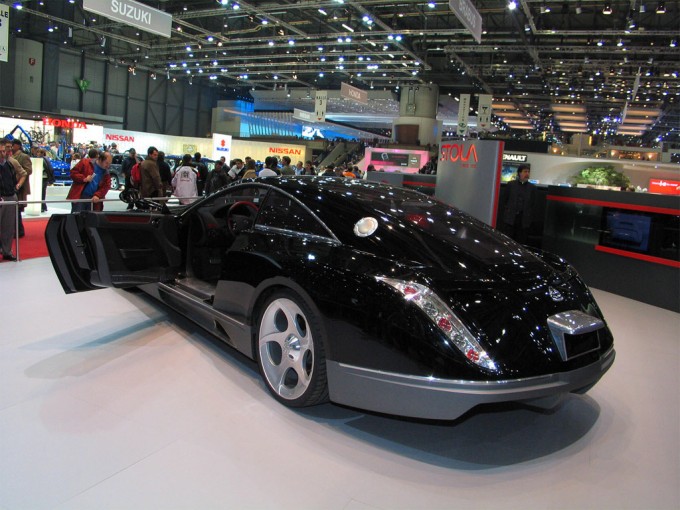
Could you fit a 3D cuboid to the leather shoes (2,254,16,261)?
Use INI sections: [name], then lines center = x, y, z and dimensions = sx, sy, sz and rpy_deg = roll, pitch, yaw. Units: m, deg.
[leather shoes]
center = -4.806, 0.037, 6.031
dimensions = 0.201, 0.091, 0.070
rpy_deg = 2, 12, 2
